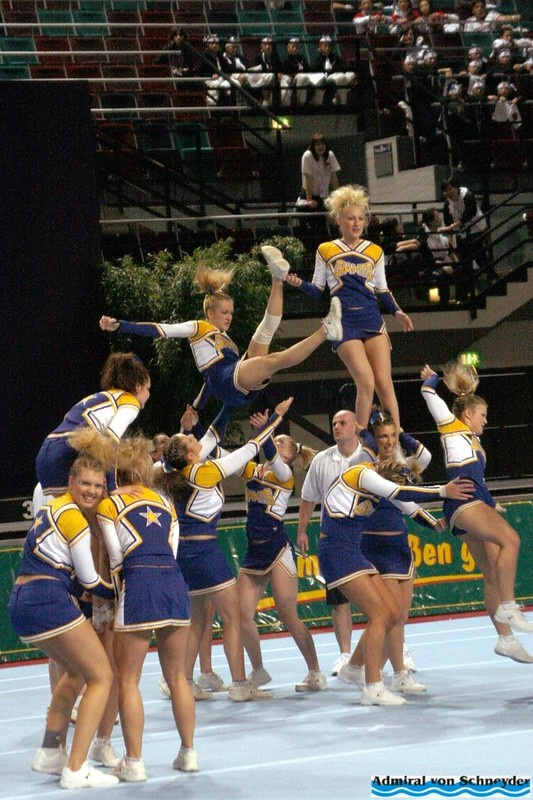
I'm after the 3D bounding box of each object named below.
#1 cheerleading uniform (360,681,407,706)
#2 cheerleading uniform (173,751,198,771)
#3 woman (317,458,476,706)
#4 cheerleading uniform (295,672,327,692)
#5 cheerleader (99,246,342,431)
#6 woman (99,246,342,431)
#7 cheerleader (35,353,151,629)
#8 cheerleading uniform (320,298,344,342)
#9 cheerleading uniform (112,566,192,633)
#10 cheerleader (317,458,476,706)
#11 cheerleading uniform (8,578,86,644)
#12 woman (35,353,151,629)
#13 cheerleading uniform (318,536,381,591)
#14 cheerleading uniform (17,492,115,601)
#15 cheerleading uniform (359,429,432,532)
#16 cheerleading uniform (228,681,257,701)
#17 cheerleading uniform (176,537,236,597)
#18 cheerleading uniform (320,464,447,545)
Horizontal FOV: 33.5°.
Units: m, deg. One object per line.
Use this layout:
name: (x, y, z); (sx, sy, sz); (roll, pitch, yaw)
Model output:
cheerleading uniform: (0.726, 1.829, 5.593); (0.336, 0.156, 0.124); (1, 6, 9)
cheerleading uniform: (-0.381, 1.728, 4.243); (0.066, 0.071, 0.175); (-1, -4, -10)
woman: (0.772, 1.216, 5.643); (0.774, 1.690, 1.145); (-11, 7, -29)
cheerleading uniform: (0.348, 2.050, 6.473); (0.320, 0.137, 0.101); (2, -5, -14)
cheerleader: (-0.182, -0.473, 6.302); (1.684, 0.988, 1.119); (-18, -11, 33)
woman: (-0.224, -0.480, 6.253); (1.662, 0.996, 1.093); (-17, -9, 39)
cheerleader: (-0.961, 0.360, 4.864); (0.555, 1.312, 0.484); (-6, 21, -44)
cheerleading uniform: (0.447, -0.582, 6.006); (0.154, 0.320, 0.116); (-2, -11, -1)
cheerleading uniform: (-0.516, 0.881, 3.931); (0.343, 0.287, 0.182); (3, -6, -30)
cheerleader: (0.773, 1.216, 5.638); (0.774, 1.690, 1.126); (-11, 7, -27)
cheerleading uniform: (-0.964, 0.922, 3.902); (0.222, 0.207, 0.310); (-18, -5, -46)
woman: (-0.958, 0.352, 4.874); (0.564, 1.294, 0.458); (0, 22, -29)
cheerleading uniform: (0.516, 1.011, 5.590); (0.288, 0.326, 0.502); (-27, -16, 2)
cheerleading uniform: (-0.889, 0.630, 4.101); (0.432, 0.550, 0.432); (-1, -16, 28)
cheerleading uniform: (0.894, 0.546, 6.326); (0.836, 0.750, 0.308); (-8, -14, 44)
cheerleading uniform: (-0.165, 2.026, 6.194); (0.113, 0.096, 0.227); (1, 2, 27)
cheerleading uniform: (-0.402, 1.050, 5.850); (0.277, 0.416, 0.466); (-7, -11, -38)
cheerleading uniform: (0.737, 0.554, 5.623); (0.781, 0.533, 0.418); (12, 29, 11)
